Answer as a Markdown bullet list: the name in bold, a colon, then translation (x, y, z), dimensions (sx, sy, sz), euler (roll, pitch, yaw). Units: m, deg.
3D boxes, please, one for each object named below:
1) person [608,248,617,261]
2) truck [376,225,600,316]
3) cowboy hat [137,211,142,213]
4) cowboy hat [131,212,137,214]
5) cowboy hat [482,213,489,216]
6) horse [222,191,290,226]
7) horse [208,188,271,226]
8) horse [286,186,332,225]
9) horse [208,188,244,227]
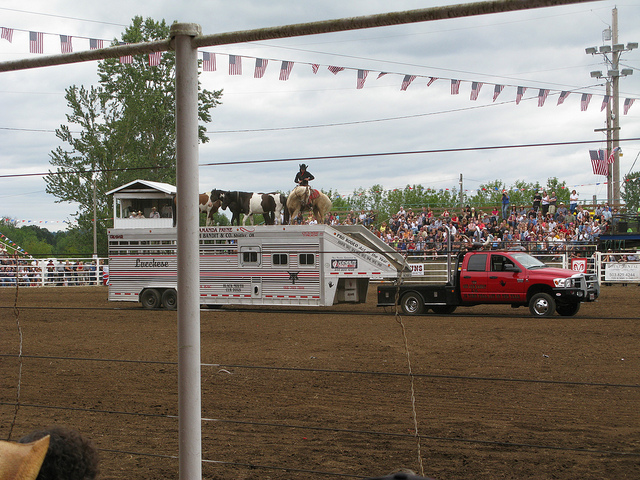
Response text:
- **person**: translation (11.810, 0.596, 38.904), dimensions (0.347, 0.507, 0.732), euler (1, -1, 16)
- **truck**: translation (4.869, 1.060, 27.072), dimensions (5.059, 1.592, 3.642), euler (1, -1, 32)
- **cowboy hat**: translation (-7.947, -1.194, 42.527), dimensions (0.149, 0.089, 0.197), euler (1, -1, -1)
- **cowboy hat**: translation (-8.218, -1.167, 42.527), dimensions (0.130, 0.086, 0.134), euler (-1, -2, 4)
- **cowboy hat**: translation (7.280, -1.092, 42.499), dimensions (0.215, 0.087, 0.307), euler (0, 2, 4)
- **horse**: translation (-2.266, -1.041, 33.146), dimensions (2.469, 1.235, 0.591), euler (-1, 12, -2)
- **horse**: translation (-2.548, -0.968, 33.989), dimensions (2.919, 1.612, 0.658), euler (3, -12, -16)
- **horse**: translation (-0.192, -1.076, 31.605), dimensions (1.841, 1.116, 0.509), euler (18, -3, 41)
- **horse**: translation (-2.906, -1.053, 33.531), dimensions (0.514, 1.279, 2.094), euler (-4, -1, -40)
